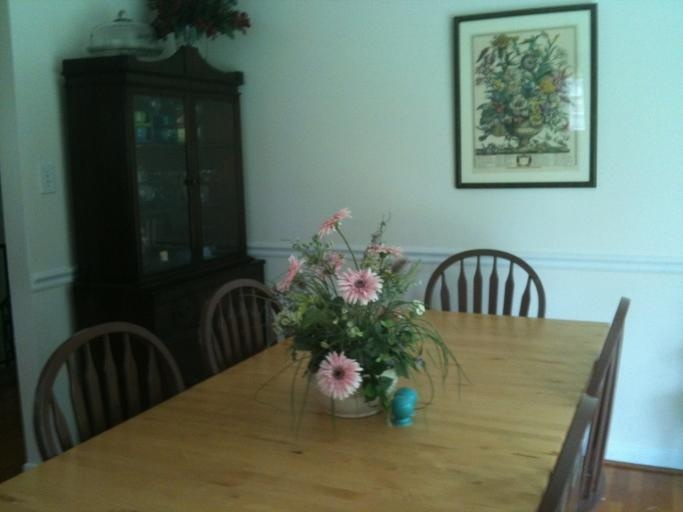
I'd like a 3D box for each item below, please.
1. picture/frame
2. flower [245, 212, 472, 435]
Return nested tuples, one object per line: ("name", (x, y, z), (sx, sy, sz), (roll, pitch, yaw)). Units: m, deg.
("picture/frame", (1.009, -0.892, 3.058), (0.961, 1.243, 0.049), (0, 5, 18))
("flower", (0.048, 0.226, 1.735), (0.462, 0.543, 0.468), (9, -4, 39))
